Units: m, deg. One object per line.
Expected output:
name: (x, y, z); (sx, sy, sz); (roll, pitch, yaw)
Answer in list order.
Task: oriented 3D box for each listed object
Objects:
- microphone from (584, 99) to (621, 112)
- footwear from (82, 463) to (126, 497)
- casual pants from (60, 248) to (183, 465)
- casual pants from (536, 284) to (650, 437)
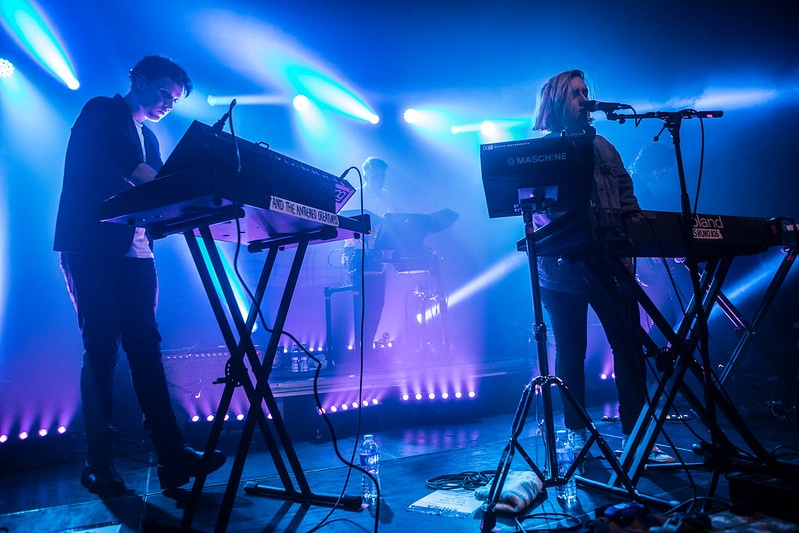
microphone: (1.627, -1.249, 5.454); (0.353, 0.110, 0.102); (11, 24, 33)
footwear: (-2.398, 1.704, 5.605); (0.412, 0.256, 0.161); (-5, 7, 8)
casual pants: (-2.235, 0.629, 5.713); (0.803, 2.039, 0.586); (-3, -38, -23)
casual pants: (1.589, 0.783, 5.774); (0.878, 1.206, 0.568); (-2, 8, 31)
